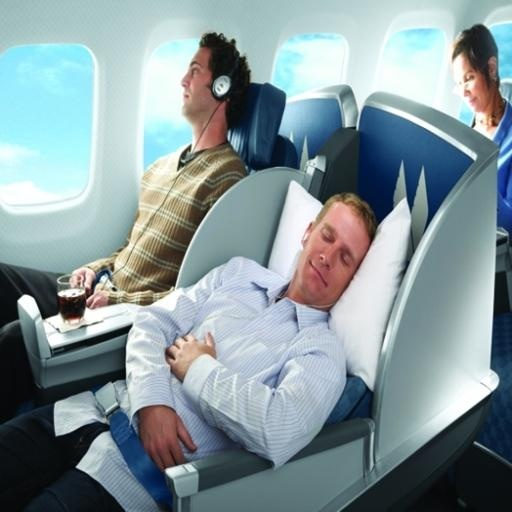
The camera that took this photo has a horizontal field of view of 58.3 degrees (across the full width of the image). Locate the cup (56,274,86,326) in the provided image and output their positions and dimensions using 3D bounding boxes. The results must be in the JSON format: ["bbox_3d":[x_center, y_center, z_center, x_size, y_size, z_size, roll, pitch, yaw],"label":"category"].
[{"bbox_3d":[-0.566,0.130,1.408,0.078,0.145,0.078,6,22,-2],"label":"cup"}]
